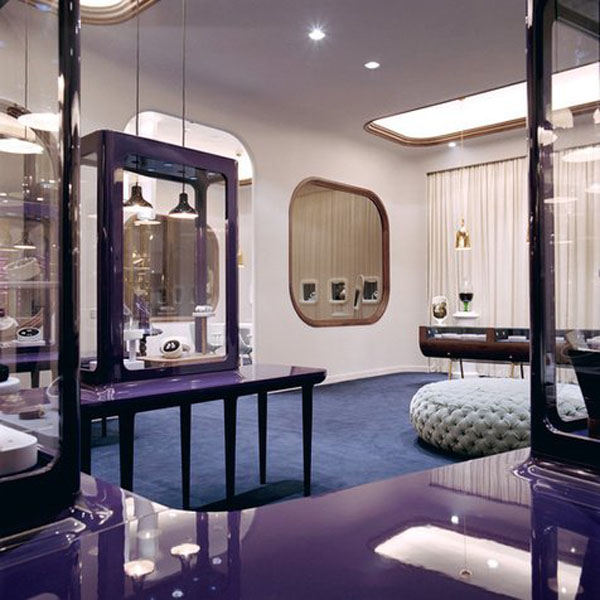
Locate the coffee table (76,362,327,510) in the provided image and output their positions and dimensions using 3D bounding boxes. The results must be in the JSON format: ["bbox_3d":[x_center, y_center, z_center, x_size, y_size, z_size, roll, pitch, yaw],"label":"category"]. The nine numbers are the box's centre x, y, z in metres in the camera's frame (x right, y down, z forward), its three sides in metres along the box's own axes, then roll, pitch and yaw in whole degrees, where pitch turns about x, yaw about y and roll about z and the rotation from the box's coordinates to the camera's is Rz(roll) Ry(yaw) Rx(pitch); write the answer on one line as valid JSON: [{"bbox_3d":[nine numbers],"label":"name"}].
[{"bbox_3d":[-0.359,0.605,2.135,0.360,0.562,1.018,-6,-7,42],"label":"coffee table"}]

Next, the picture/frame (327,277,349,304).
[{"bbox_3d":[0.741,-0.192,9.596,0.050,0.514,0.431,2,-1,-40],"label":"picture/frame"}]

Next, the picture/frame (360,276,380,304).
[{"bbox_3d":[1.230,-0.164,8.777,0.055,0.598,0.392,5,-6,-39],"label":"picture/frame"}]

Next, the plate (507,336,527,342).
[{"bbox_3d":[2.309,0.416,5.320,0.172,0.047,0.154,-1,-2,9],"label":"plate"}]

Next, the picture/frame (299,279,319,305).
[{"bbox_3d":[0.193,-0.191,10.136,0.453,0.699,0.369,1,2,41],"label":"picture/frame"}]
